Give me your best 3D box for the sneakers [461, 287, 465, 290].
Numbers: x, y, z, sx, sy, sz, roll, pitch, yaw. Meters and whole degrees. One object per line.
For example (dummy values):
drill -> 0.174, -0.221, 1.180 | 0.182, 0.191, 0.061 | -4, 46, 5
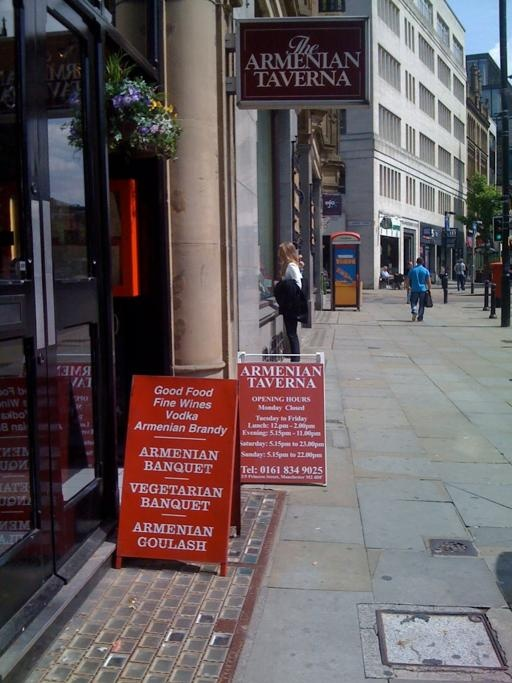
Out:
sneakers -> 13.033, -3.326, 40.624 | 0.190, 0.280, 0.377 | 1, 11, 16

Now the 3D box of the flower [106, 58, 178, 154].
flower -> -0.744, -1.518, 4.082 | 0.386, 0.647, 0.582 | 2, 4, 8

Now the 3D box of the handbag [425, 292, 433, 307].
handbag -> 5.833, -1.419, 21.862 | 0.250, 0.674, 0.622 | 3, 12, 14

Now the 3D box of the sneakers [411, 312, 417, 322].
sneakers -> 4.800, -0.737, 19.565 | 0.101, 0.340, 0.131 | -1, 31, 2

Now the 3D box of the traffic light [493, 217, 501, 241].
traffic light -> 6.695, -3.126, 17.891 | 0.213, 0.693, 0.648 | 2, 5, 20

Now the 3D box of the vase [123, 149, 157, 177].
vase -> -0.837, -1.238, 4.720 | 0.223, 0.174, 0.130 | -14, 14, 25

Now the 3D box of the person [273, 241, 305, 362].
person -> 0.504, -0.551, 8.941 | 0.403, 1.606, 0.617 | -1, 5, -26
